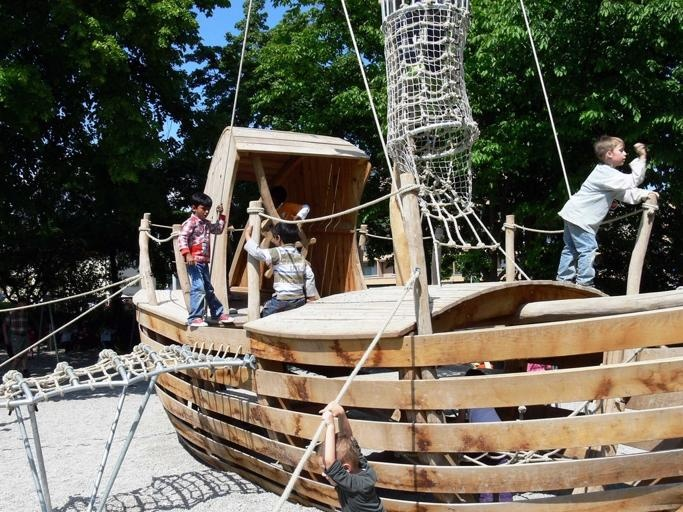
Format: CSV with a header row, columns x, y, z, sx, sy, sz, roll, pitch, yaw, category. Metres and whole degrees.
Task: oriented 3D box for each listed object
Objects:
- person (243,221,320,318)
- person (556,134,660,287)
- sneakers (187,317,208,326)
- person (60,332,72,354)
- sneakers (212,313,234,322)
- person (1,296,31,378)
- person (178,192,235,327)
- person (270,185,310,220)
x,y,z,sx,sy,sz,roll,pitch,yaw,category
-0.691,0.145,7.645,0.629,1.090,1.413,0,1,11,person
2.819,-0.502,7.231,0.902,1.642,0.575,0,2,23,person
-1.624,0.730,7.533,0.239,0.099,0.100,0,1,31,sneakers
-8.128,2.475,19.641,0.282,0.543,0.723,-2,1,-23,person
-1.329,0.696,7.575,0.214,0.088,0.109,-1,2,31,sneakers
-7.086,1.840,14.490,0.511,1.453,2.347,-2,1,-26,person
-1.615,0.024,7.772,0.569,1.541,0.804,-1,2,-14,person
-0.712,-0.764,9.423,0.572,0.544,1.307,-1,1,-3,person
